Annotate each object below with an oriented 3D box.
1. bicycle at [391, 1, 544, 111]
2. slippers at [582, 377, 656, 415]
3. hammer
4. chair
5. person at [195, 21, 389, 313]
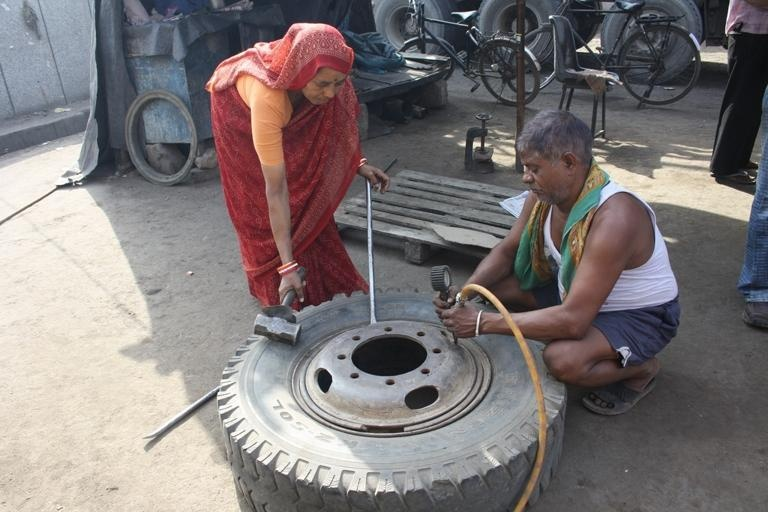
[{"bbox_3d":[1.313,-2.979,9.010,2.794,1.070,1.600,18,-1,2],"label":"bicycle"},{"bbox_3d":[1.403,0.878,3.685,0.448,0.191,0.164,-7,37,-1],"label":"slippers"},{"bbox_3d":[-0.613,0.324,3.558,0.192,0.133,0.352,12,44,11],"label":"hammer"},{"bbox_3d":[2.423,-2.099,7.182,0.933,1.468,0.896,13,25,33],"label":"chair"},{"bbox_3d":[-0.583,-0.645,4.169,1.059,2.256,1.046,8,20,27],"label":"person"}]
